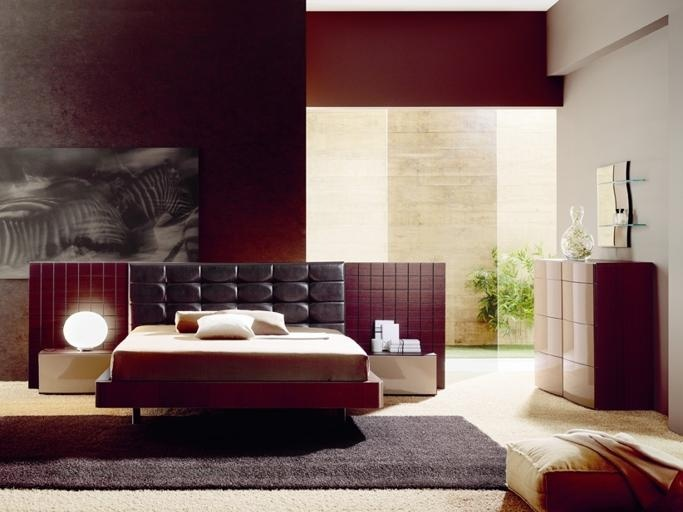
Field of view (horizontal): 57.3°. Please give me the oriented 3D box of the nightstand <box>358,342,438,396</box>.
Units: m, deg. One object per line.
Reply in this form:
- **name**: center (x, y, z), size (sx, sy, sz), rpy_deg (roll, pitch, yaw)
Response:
- **nightstand**: center (0.640, 1.165, 6.151), size (0.782, 0.420, 0.388), rpy_deg (0, -5, -3)

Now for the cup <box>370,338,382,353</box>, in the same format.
- **cup**: center (0.359, 0.905, 6.291), size (0.129, 0.126, 0.120), rpy_deg (1, -1, 0)

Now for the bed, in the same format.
- **bed**: center (-0.982, 0.699, 5.948), size (2.386, 1.208, 2.344), rpy_deg (1, 0, -12)

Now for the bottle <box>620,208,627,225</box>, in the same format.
- **bottle**: center (2.762, -0.384, 6.127), size (0.039, 0.142, 0.084), rpy_deg (-2, 7, -16)

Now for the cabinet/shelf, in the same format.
- **cabinet/shelf**: center (2.379, 0.727, 5.799), size (0.543, 1.236, 1.361), rpy_deg (1, -4, -10)

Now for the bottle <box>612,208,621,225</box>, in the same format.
- **bottle**: center (2.739, -0.383, 6.161), size (0.049, 0.161, 0.135), rpy_deg (-2, 7, -19)
